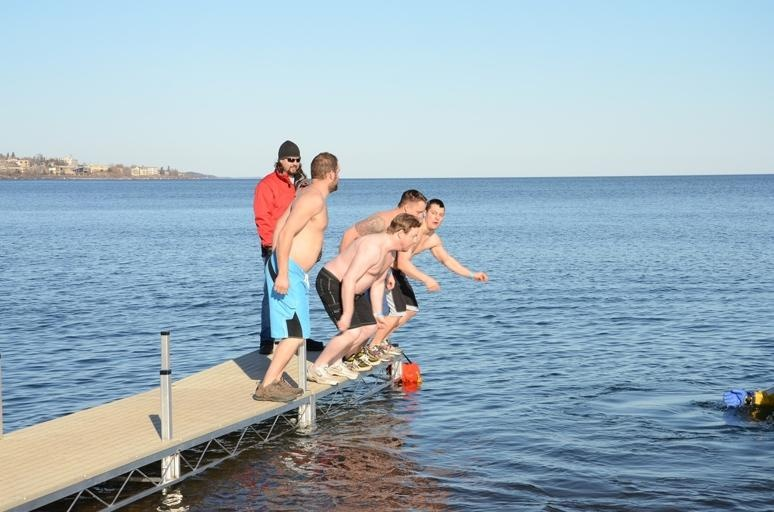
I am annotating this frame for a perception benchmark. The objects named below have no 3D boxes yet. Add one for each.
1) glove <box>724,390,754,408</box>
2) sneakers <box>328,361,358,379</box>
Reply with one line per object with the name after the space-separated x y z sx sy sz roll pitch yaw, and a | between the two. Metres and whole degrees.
6.272 2.550 17.803 0.516 0.150 0.345 -3 -3 5 | glove
-0.795 2.022 17.607 0.631 0.192 0.241 11 16 5 | sneakers
